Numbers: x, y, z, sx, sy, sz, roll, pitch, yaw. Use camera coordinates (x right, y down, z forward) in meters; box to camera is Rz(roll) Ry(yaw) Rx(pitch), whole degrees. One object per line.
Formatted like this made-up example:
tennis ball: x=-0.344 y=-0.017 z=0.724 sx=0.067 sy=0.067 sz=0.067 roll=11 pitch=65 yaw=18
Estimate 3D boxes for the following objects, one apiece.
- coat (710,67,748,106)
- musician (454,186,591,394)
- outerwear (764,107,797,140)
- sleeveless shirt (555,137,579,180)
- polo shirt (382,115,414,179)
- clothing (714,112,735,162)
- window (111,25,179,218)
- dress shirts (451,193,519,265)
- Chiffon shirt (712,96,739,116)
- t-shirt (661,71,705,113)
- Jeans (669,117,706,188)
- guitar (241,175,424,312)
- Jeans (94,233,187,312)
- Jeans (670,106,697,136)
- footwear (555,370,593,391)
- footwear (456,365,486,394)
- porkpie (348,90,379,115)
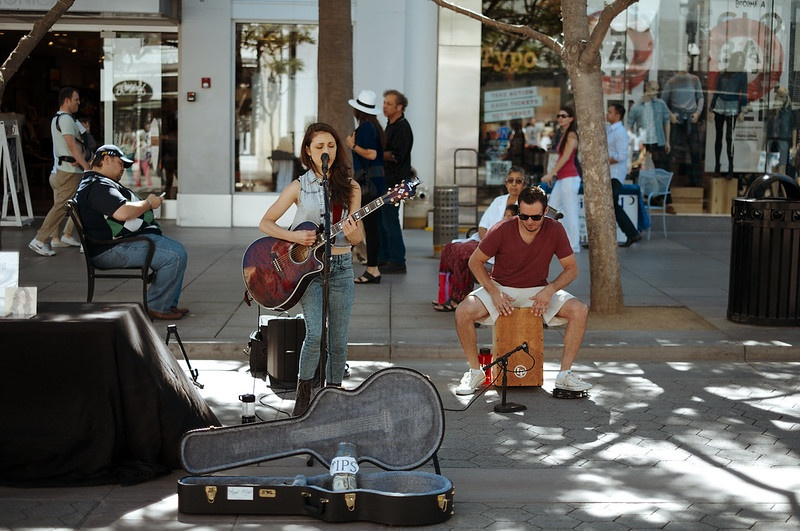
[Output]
coat: x=6.811 y=-3.780 z=20.167 sx=0.705 sy=0.967 sz=0.320 roll=2 pitch=5 yaw=4
musician: x=1.286 y=0.193 z=10.346 sx=1.430 sy=2.107 sz=1.371 roll=-1 pitch=6 yaw=4
outerwear: x=7.977 y=-3.023 z=20.273 sx=0.594 sy=0.620 sz=0.330 roll=3 pitch=7 yaw=19
sleeveless shirt: x=2.878 y=-1.824 z=16.394 sx=0.463 sy=0.919 sz=0.693 roll=-1 pitch=7 yaw=6
polo shirt: x=-0.034 y=-1.735 z=14.585 sx=0.411 sy=1.016 sz=0.549 roll=-1 pitch=7 yaw=-2
clothing: x=6.765 y=-2.831 z=20.335 sx=0.196 sy=0.951 sz=0.281 roll=-4 pitch=4 yaw=-1
window: x=-5.473 y=-3.055 z=20.546 sx=1.610 sy=3.993 sz=0.188 roll=-3 pitch=40 yaw=-15
dress shirts: x=1.010 y=-0.408 z=12.514 sx=0.822 sy=0.974 sz=0.673 roll=-7 pitch=8 yaw=4
Chiffon shirt: x=6.821 y=-3.315 z=20.217 sx=0.557 sy=0.414 sz=0.330 roll=2 pitch=-2 yaw=12
t-shirt: x=5.891 y=-3.557 z=20.173 sx=0.919 sy=0.923 sz=0.531 roll=-4 pitch=12 yaw=-2
Jeans: x=5.999 y=-2.389 z=20.200 sx=1.149 sy=1.136 sz=0.276 roll=1 pitch=2 yaw=-24
guitar: x=-0.775 y=-0.209 z=9.105 sx=2.115 sy=0.854 sz=0.298 roll=-35 pitch=-16 yaw=16
Jeans: x=-3.121 y=0.126 z=11.767 sx=1.069 sy=1.181 sz=0.817 roll=-6 pitch=12 yaw=-17
Jeans: x=5.872 y=-3.019 z=19.978 sx=0.503 sy=0.519 sz=0.153 roll=-3 pitch=3 yaw=-3
footwear: x=1.780 y=1.171 z=10.085 sx=0.427 sy=0.212 sz=0.164 roll=1 pitch=16 yaw=1
footwear: x=0.742 y=1.189 z=10.146 sx=0.349 sy=0.255 sz=0.247 roll=-1 pitch=8 yaw=-3
porkpie: x=-0.532 y=-2.367 z=14.147 sx=0.399 sy=0.198 sz=0.406 roll=45 pitch=44 yaw=18
